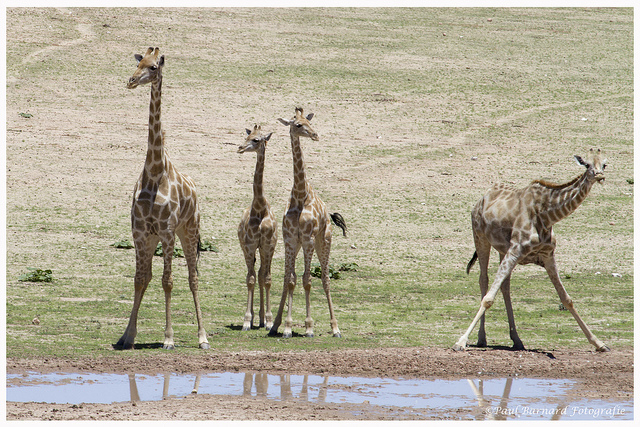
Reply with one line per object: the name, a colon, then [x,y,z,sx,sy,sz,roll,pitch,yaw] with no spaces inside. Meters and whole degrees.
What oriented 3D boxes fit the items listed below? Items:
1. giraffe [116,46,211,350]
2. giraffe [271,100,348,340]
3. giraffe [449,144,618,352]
giraffe: [-5.432,-0.506,44.715,2.768,10.254,1.569,0,6,-15]
giraffe: [0.135,0.506,47.252,2.738,7.607,3.142,1,1,-9]
giraffe: [7.229,1.550,45.788,5.314,6.552,9.866,6,-5,-17]
